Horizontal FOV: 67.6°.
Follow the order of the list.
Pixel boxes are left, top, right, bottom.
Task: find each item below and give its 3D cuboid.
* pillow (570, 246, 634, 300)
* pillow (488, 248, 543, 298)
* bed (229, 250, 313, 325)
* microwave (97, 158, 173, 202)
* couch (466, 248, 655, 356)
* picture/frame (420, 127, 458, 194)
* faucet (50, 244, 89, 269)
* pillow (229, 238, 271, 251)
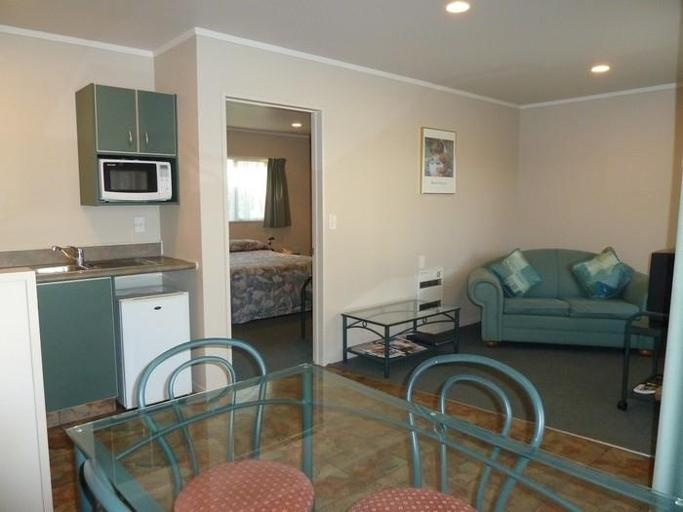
[{"bbox_3d":[2.723,0.207,5.412,0.680,0.165,0.689,-11,44,25],"label":"pillow"},{"bbox_3d":[1.880,0.192,5.559,0.462,0.459,0.133,-36,-4,-13],"label":"pillow"},{"bbox_3d":[-0.867,0.361,6.818,1.338,0.496,1.384,-5,9,-6],"label":"bed"},{"bbox_3d":[-1.705,-0.596,4.175,0.552,0.349,0.330,-6,8,-40],"label":"microwave"},{"bbox_3d":[2.390,0.452,5.530,1.908,1.037,0.972,1,4,16],"label":"couch"},{"bbox_3d":[1.026,-1.040,5.501,0.736,0.832,0.061,-6,12,-43],"label":"picture/frame"},{"bbox_3d":[-2.168,0.002,4.072,0.241,0.176,0.266,-6,8,-27],"label":"faucet"},{"bbox_3d":[-1.495,-0.167,8.256,0.763,0.186,0.394,-7,8,-35],"label":"pillow"}]
